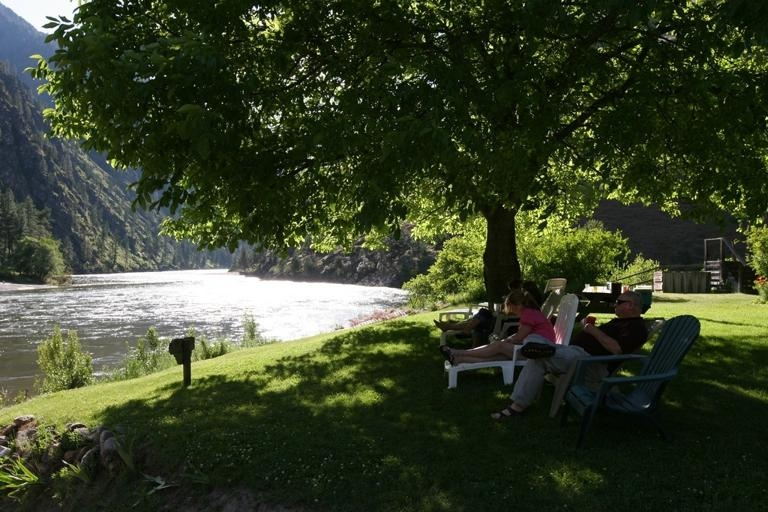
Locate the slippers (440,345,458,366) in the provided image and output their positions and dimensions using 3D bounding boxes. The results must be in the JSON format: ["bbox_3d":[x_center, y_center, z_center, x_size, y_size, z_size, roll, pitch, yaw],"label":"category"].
[{"bbox_3d":[1.164,1.844,11.564,0.102,0.470,0.189,-1,16,44],"label":"slippers"}]

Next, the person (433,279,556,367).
[{"bbox_3d":[2.104,1.261,11.734,2.198,1.527,1.086,-7,8,-1],"label":"person"}]

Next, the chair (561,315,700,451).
[{"bbox_3d":[3.950,1.904,10.158,1.868,1.925,1.405,-1,6,-1],"label":"chair"}]

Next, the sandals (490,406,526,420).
[{"bbox_3d":[2.067,2.624,10.694,0.541,0.150,0.233,-2,2,-13],"label":"sandals"}]

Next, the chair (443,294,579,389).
[{"bbox_3d":[2.420,1.456,12.184,2.308,1.909,1.050,0,19,-1],"label":"chair"}]

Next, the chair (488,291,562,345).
[{"bbox_3d":[2.670,1.153,12.040,1.042,1.115,0.779,-14,-8,32],"label":"chair"}]
